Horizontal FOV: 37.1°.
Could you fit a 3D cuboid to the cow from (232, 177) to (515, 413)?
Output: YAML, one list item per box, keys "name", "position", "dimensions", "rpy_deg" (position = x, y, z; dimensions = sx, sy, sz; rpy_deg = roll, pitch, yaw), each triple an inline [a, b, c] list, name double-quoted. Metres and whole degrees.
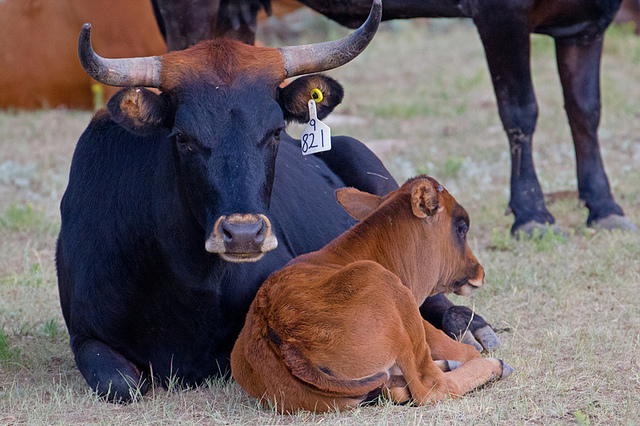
- name: "cow"
  position: [0.549, 0.716, 8.547]
  dimensions: [2.646, 1.975, 1.731]
  rpy_deg: [-7, -5, -43]
